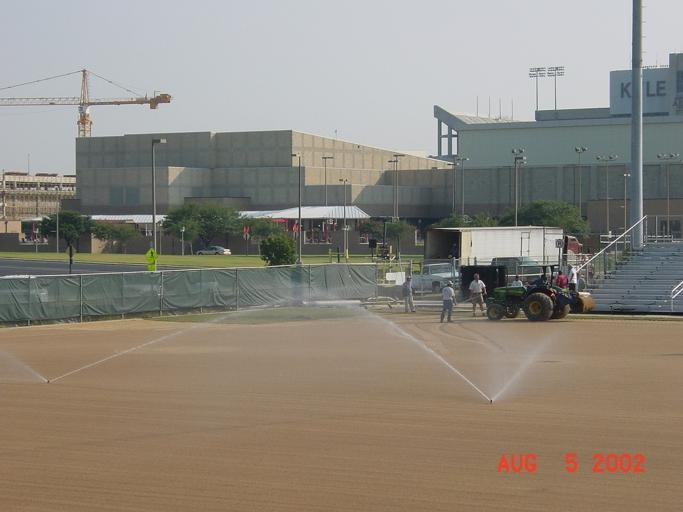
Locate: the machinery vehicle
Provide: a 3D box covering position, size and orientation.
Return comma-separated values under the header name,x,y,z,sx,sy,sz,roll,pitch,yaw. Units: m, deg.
name,x,y,z,sx,sy,sz,roll,pitch,yaw
machinery vehicle,8.221,1.847,55.019,3.705,2.218,2.120,2,2,24
